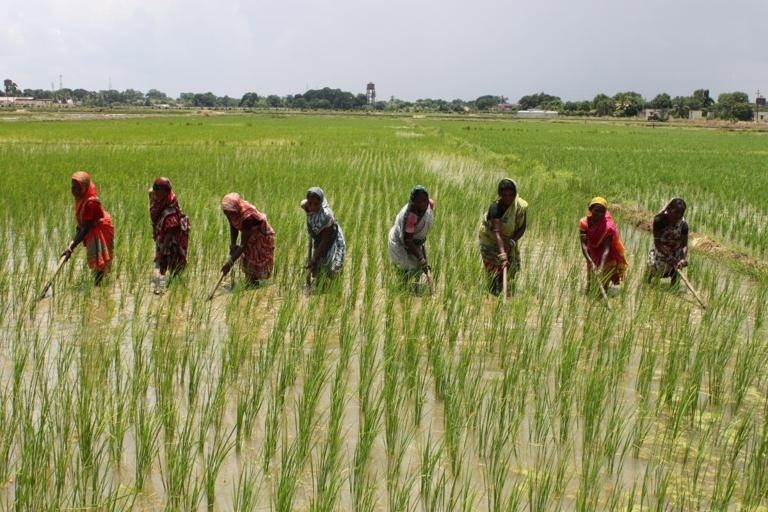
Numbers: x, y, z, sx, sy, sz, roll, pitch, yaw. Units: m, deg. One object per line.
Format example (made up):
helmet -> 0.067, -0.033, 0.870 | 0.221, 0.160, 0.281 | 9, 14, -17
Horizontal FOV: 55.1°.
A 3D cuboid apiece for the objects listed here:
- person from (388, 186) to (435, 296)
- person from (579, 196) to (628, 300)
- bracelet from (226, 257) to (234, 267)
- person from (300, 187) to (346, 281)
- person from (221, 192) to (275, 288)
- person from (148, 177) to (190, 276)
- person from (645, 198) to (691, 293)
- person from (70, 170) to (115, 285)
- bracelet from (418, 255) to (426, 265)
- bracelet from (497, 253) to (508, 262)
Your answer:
person -> 0.336, -0.221, 9.044 | 0.547, 1.258, 0.612 | 3, 11, 1
person -> 2.748, -0.114, 9.120 | 0.603, 1.166, 0.917 | 5, 12, 9
bracelet -> -1.855, 0.072, 8.863 | 0.082, 0.108, 0.025 | -7, 1, -31
person -> -0.751, -0.251, 9.074 | 0.542, 1.159, 0.503 | 2, 11, -4
person -> -1.720, -0.170, 9.108 | 0.667, 1.321, 0.488 | -19, 31, -38
person -> -2.604, -0.338, 8.912 | 0.449, 1.196, 0.374 | 0, 12, -16
person -> 3.670, -0.198, 9.374 | 0.311, 1.088, 0.509 | -5, 14, -34
person -> -3.484, -0.342, 8.774 | 0.461, 1.290, 0.565 | -1, 12, -21
bracelet -> 0.472, 0.056, 9.060 | 0.071, 0.039, 0.099 | 21, 8, 3
bracelet -> 1.448, 0.017, 8.868 | 0.084, 0.069, 0.085 | 1, 5, -30
